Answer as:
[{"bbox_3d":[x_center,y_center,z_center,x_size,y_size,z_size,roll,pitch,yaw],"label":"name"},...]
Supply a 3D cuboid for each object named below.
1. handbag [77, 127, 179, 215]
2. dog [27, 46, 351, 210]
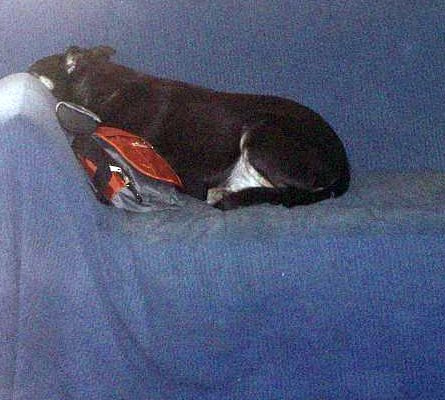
[{"bbox_3d":[-0.215,-0.083,1.379,0.073,0.182,0.239,-46,27,10],"label":"handbag"},{"bbox_3d":[-0.030,-0.203,1.572,1.086,0.367,0.419,4,94,7],"label":"dog"}]
